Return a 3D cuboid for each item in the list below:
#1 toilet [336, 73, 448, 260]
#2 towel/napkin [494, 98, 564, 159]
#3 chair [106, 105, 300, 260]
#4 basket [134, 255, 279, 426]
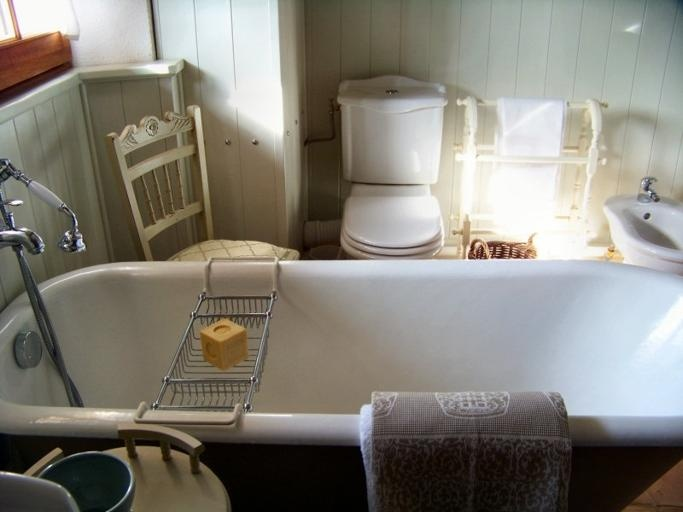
[{"bbox_3d":[0.232,-0.393,2.413,0.575,0.906,0.917,3,23,9],"label":"toilet"},{"bbox_3d":[0.936,-0.640,2.382,0.326,0.259,0.104,2,22,5],"label":"towel/napkin"},{"bbox_3d":[-0.637,-0.267,1.890,0.481,0.777,0.564,16,25,28],"label":"chair"},{"bbox_3d":[-0.363,0.274,1.437,0.280,0.215,0.692,4,43,2],"label":"basket"}]
